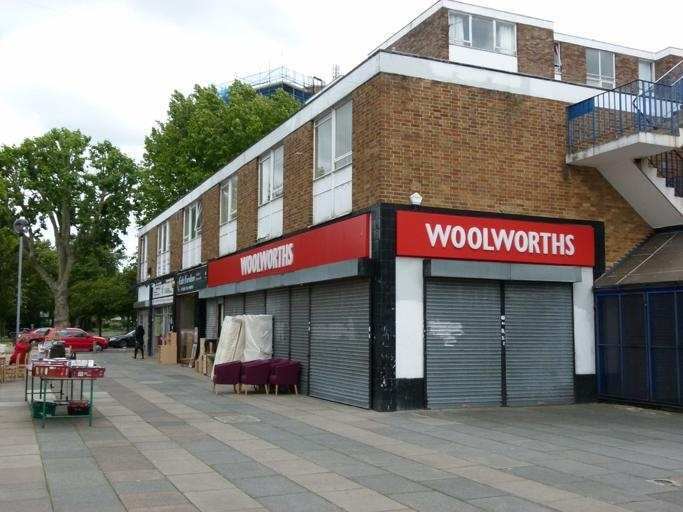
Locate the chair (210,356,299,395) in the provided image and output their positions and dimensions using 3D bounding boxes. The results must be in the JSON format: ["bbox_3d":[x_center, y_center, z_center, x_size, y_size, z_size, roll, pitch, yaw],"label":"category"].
[{"bbox_3d":[-2.442,3.556,20.144,2.576,1.010,0.853,1,-1,-22],"label":"chair"}]
